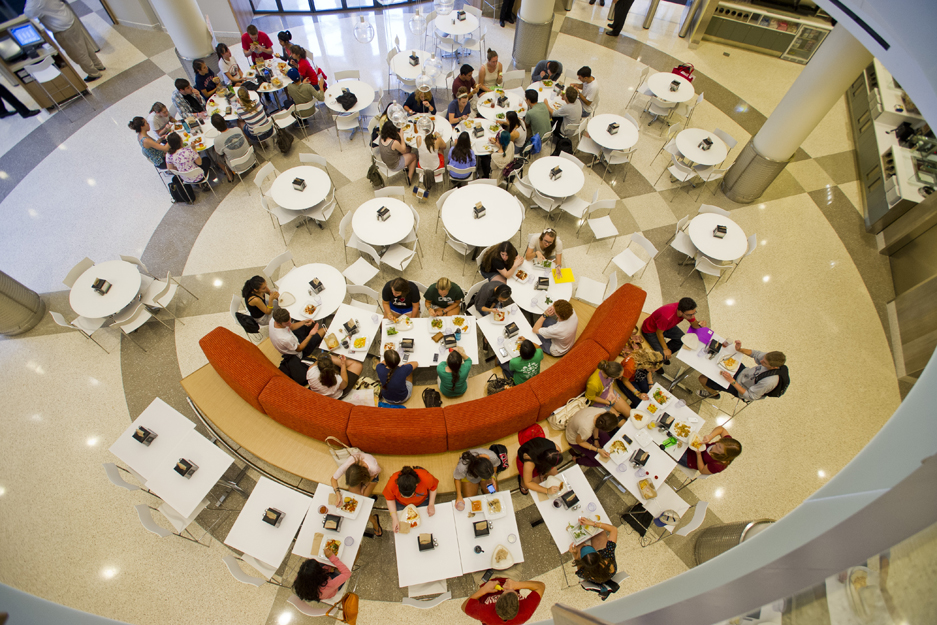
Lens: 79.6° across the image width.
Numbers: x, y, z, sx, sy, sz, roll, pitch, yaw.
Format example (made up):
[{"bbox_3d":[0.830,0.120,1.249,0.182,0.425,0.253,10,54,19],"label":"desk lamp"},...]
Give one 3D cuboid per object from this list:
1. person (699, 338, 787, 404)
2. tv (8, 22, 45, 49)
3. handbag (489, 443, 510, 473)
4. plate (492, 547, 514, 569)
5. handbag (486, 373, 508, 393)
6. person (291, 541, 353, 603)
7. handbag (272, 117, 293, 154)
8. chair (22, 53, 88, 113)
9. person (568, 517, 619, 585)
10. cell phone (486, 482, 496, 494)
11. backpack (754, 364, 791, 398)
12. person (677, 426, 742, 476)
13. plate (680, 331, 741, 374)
[{"bbox_3d":[5.011,1.102,10.342,0.755,0.954,0.597,26,80,-9],"label":"person"},{"bbox_3d":[-10.232,-6.382,12.988,0.547,0.349,0.612,41,69,19],"label":"tv"},{"bbox_3d":[0.544,2.452,9.719,0.293,0.237,0.490,-17,87,4],"label":"handbag"},{"bbox_3d":[0.551,3.877,9.030,0.322,0.099,0.310,1,62,-1],"label":"plate"},{"bbox_3d":[0.535,1.334,10.607,0.250,0.333,0.351,40,83,18],"label":"handbag"},{"bbox_3d":[-2.282,4.099,8.809,0.608,0.718,0.828,39,68,18],"label":"person"},{"bbox_3d":[-4.323,-4.093,13.032,0.392,0.845,0.502,19,89,2],"label":"handbag"},{"bbox_3d":[-10.058,-5.567,13.765,0.904,1.466,1.058,-32,106,-35],"label":"chair"},{"bbox_3d":[2.310,3.681,9.520,0.594,1.442,0.952,-4,96,28],"label":"person"},{"bbox_3d":[0.399,2.912,9.448,0.140,0.161,0.166,3,80,8],"label":"cell phone"},{"bbox_3d":[5.372,1.178,9.964,0.475,0.459,0.343,43,50,10],"label":"backpack"},{"bbox_3d":[4.191,2.412,9.812,0.468,0.824,0.433,15,79,-10],"label":"person"},{"bbox_3d":[4.424,0.781,10.339,0.780,0.183,0.785,27,84,7],"label":"plate"}]
